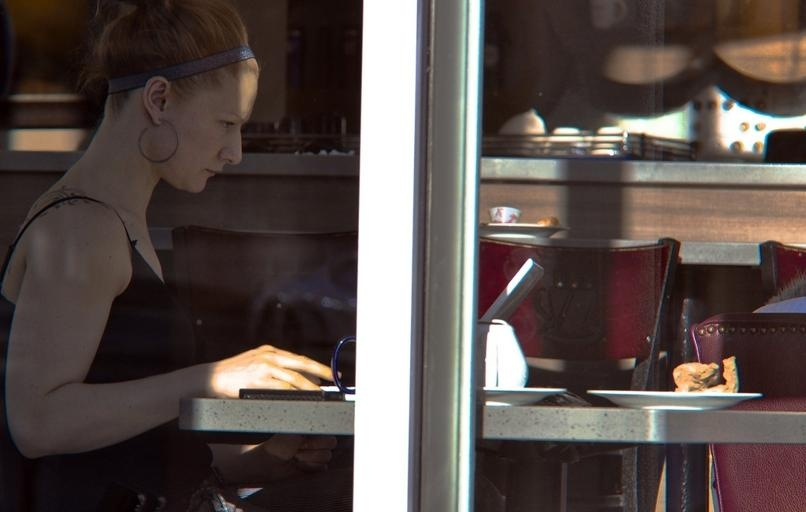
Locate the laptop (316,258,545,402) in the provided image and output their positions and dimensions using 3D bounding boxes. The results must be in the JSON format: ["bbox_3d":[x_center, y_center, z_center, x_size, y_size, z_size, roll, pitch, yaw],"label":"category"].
[{"bbox_3d":[0.073,0.180,4.126,0.569,0.384,0.235,2,4,0],"label":"laptop"}]

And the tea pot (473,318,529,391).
[{"bbox_3d":[0.256,0.252,4.051,0.134,0.171,0.098,3,4,3],"label":"tea pot"}]
